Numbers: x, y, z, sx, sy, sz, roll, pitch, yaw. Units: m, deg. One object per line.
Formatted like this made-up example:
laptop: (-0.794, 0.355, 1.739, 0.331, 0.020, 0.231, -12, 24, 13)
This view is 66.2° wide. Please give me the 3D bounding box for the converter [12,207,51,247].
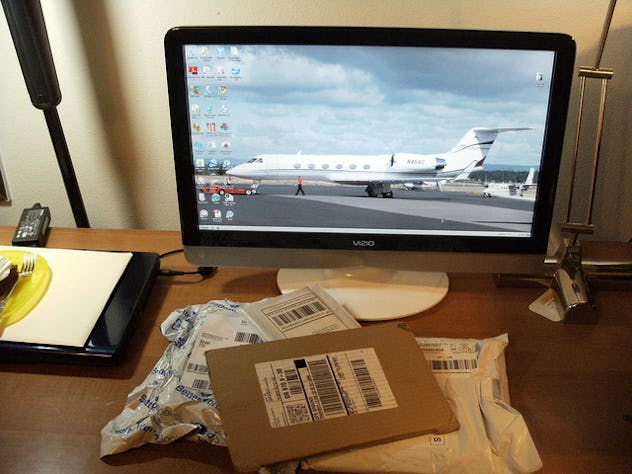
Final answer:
converter: (-0.656, -0.023, 1.126, 0.071, 0.032, 0.124, -2, 38, -12)
